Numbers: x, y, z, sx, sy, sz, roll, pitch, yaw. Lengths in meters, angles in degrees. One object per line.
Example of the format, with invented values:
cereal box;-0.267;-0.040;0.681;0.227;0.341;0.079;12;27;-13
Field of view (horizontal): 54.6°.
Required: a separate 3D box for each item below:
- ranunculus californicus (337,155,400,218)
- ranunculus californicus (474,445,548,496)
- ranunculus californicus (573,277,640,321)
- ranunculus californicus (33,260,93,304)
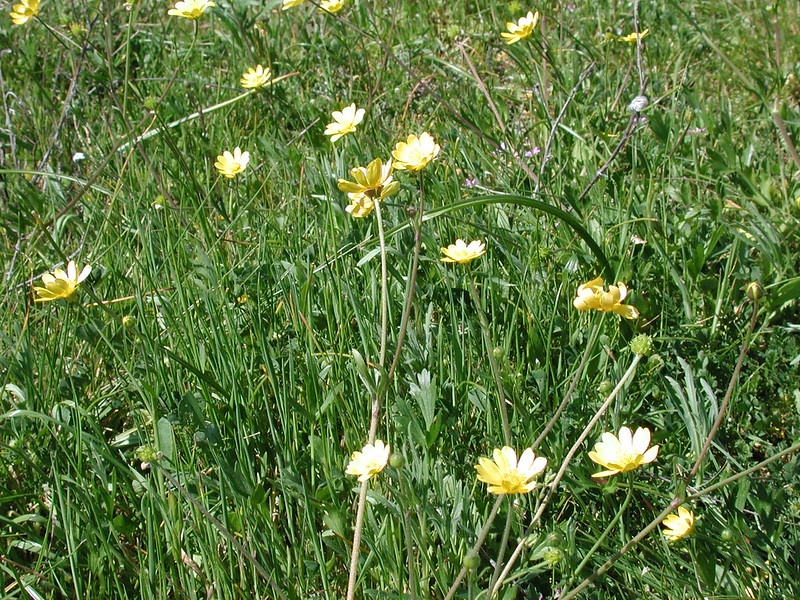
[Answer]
ranunculus californicus;-0.071;-0.304;1.920;0.100;0.068;0.104;-14;17;-20
ranunculus californicus;0.241;0.383;1.629;0.099;0.064;0.124;-17;31;6
ranunculus californicus;0.477;-0.034;1.832;0.100;0.061;0.123;-34;16;-23
ranunculus californicus;-0.880;-0.028;2.035;0.126;0.076;0.145;-15;9;-11
